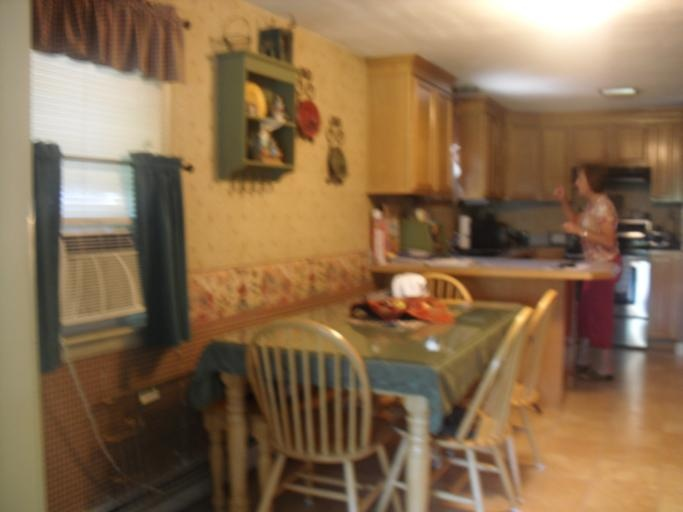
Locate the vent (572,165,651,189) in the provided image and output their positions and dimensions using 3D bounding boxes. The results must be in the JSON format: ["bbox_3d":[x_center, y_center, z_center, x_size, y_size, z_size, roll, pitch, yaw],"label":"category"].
[{"bbox_3d":[0.965,-0.267,1.931,0.125,0.083,0.269,-1,9,-2],"label":"vent"}]

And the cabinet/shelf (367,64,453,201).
[{"bbox_3d":[0.339,-0.652,2.872,0.255,0.641,0.688,0,2,25],"label":"cabinet/shelf"}]

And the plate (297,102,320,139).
[{"bbox_3d":[-0.144,-0.578,2.417,0.052,0.146,0.127,-2,2,25],"label":"plate"}]

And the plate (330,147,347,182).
[{"bbox_3d":[-0.015,-0.428,2.624,0.018,0.135,0.144,-2,20,31],"label":"plate"}]

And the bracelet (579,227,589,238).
[{"bbox_3d":[1.003,-0.093,2.299,0.009,0.038,0.039,16,30,38],"label":"bracelet"}]

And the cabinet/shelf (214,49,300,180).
[{"bbox_3d":[-0.305,-0.492,2.020,0.159,0.435,0.372,3,10,21],"label":"cabinet/shelf"}]
